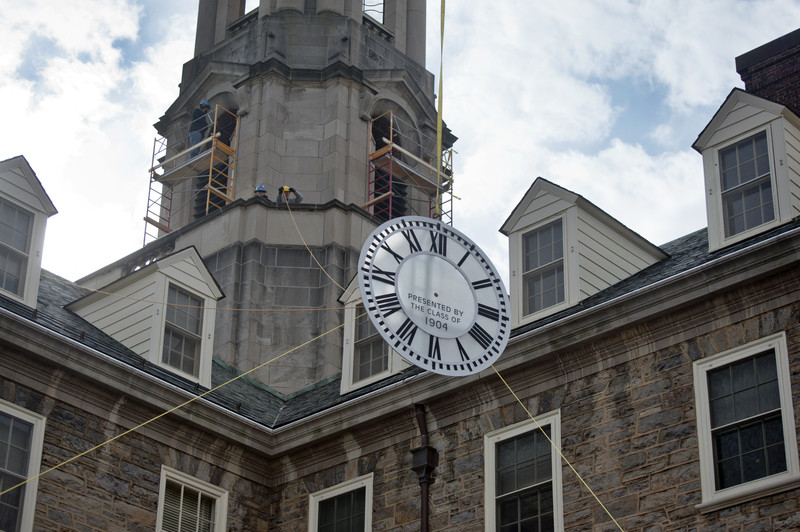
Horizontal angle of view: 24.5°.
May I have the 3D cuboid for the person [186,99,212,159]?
[{"bbox_3d":[-6.100,-4.400,56.969,0.605,1.293,2.110,9,-44,-12],"label":"person"}]
